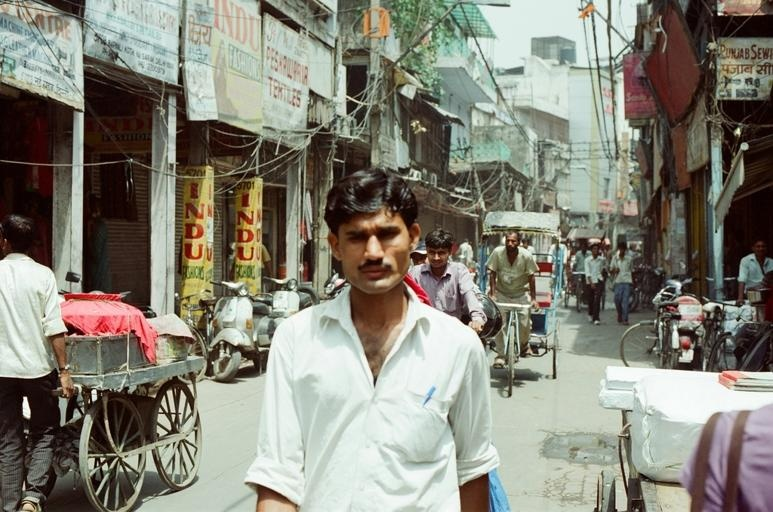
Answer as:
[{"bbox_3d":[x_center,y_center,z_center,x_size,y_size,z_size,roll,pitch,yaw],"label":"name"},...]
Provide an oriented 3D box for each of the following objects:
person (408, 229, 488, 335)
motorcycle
[{"bbox_3d":[0.763,0.300,11.043,0.986,1.886,1.103,-1,1,3],"label":"person"},{"bbox_3d":[-2.047,1.161,14.846,1.229,1.884,2.942,-3,-5,26],"label":"motorcycle"}]
